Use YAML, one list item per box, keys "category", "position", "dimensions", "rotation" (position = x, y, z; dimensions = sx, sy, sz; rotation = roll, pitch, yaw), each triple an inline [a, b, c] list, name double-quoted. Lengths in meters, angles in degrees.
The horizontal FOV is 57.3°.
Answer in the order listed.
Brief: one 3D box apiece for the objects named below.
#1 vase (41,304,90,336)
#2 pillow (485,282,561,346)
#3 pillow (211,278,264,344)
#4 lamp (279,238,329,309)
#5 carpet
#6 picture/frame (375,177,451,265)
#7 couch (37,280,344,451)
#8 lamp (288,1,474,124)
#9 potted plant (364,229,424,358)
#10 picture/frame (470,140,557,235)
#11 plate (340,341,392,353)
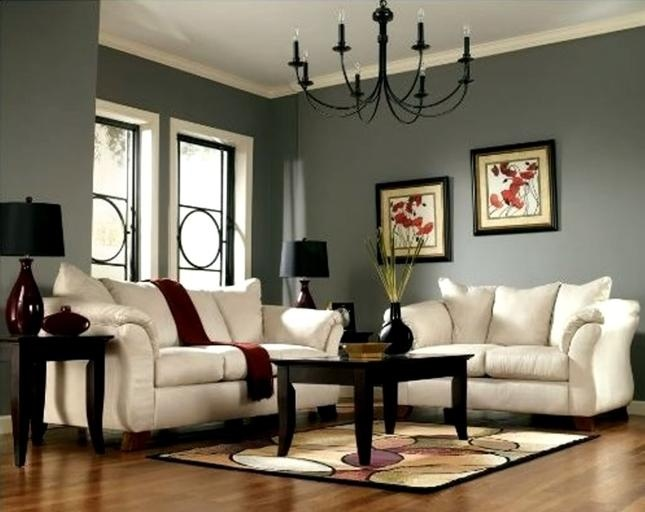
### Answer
- category: "vase"
  position: [-1.485, 0.387, 3.402]
  dimensions: [0.273, 0.185, 0.162]
  rotation: [1, -10, -9]
- category: "pillow"
  position: [1.690, 0.520, 4.998]
  dimensions: [0.311, 0.544, 0.582]
  rotation: [1, -6, -45]
- category: "pillow"
  position: [-0.686, 0.488, 4.863]
  dimensions: [0.130, 0.444, 0.430]
  rotation: [-32, -16, 36]
- category: "lamp"
  position: [-0.181, 0.212, 5.915]
  dimensions: [0.495, 0.790, 0.491]
  rotation: [-1, -1, -6]
- category: "carpet"
  position: [0.321, 1.204, 3.728]
  dimensions: [2.042, 0.022, 2.491]
  rotation: [-5, -12, 22]
- category: "picture/frame"
  position: [0.969, -0.354, 6.079]
  dimensions: [0.919, 0.975, 0.069]
  rotation: [-1, -1, 38]
- category: "couch"
  position: [-0.844, 0.701, 4.460]
  dimensions: [0.926, 1.149, 2.273]
  rotation: [-4, -8, 36]
- category: "lamp"
  position: [0.620, -1.829, 5.484]
  dimensions: [1.103, 1.230, 1.139]
  rotation: [-4, -5, 39]
- category: "potted plant"
  position: [0.576, 0.267, 4.577]
  dimensions: [0.464, 0.991, 0.430]
  rotation: [6, -10, -37]
- category: "picture/frame"
  position: [1.852, -0.646, 5.596]
  dimensions: [0.872, 0.985, 0.074]
  rotation: [-3, -4, 35]
- category: "plate"
  position: [0.240, 0.517, 3.314]
  dimensions: [0.259, 0.065, 0.099]
  rotation: [0, -1, 4]
